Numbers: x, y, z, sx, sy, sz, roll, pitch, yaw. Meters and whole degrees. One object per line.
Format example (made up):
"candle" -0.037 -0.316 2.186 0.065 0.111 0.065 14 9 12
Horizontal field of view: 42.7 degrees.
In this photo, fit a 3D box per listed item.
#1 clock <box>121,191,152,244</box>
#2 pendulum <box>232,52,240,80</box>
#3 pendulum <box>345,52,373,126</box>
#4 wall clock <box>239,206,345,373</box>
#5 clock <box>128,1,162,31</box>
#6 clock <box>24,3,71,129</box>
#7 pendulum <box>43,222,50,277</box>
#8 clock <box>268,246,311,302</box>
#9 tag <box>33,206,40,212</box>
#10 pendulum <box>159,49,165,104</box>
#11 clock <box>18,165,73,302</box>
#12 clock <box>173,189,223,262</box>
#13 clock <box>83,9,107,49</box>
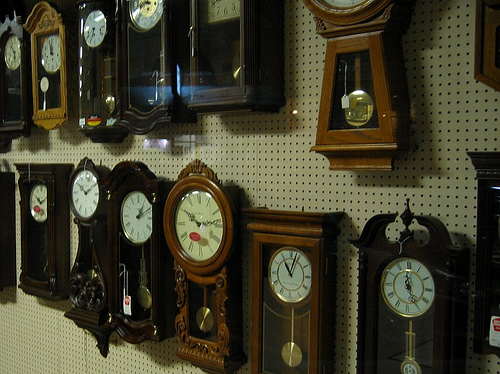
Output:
"clock" -0.545 0.145 3.101 0.205 0.297 0.029 1 1 44
"pendulum" -0.065 -0.508 2.711 0.017 0.090 0.062 -3 -32 -6
"pendulum" 0.416 -0.386 2.442 0.112 0.345 0.023 -4 42 8
"wall clock" 0.174 0.445 2.711 0.434 0.704 0.136 2 3 23
"clock" -0.483 -0.809 2.976 0.123 0.158 0.031 2 2 35
"clock" -1.105 -0.658 3.474 0.334 0.669 0.077 3 4 38
"pendulum" -1.123 0.346 3.525 0.011 0.290 0.086 -1 4 -35
"clock" 0.174 0.365 2.672 0.185 0.239 0.015 -2 -6 33
"tag" -1.193 0.121 3.578 0.025 0.033 0.006 0 1 27
"pendulum" -0.403 -0.506 2.919 0.041 0.227 0.005 3 4 44
"clock" -1.161 0.245 3.592 0.394 0.756 0.126 3 4 33
"clock" -0.225 0.169 2.878 0.254 0.370 0.044 3 5 40
"clock" -0.768 -0.792 3.185 0.160 0.216 0.023 -1 -5 43
